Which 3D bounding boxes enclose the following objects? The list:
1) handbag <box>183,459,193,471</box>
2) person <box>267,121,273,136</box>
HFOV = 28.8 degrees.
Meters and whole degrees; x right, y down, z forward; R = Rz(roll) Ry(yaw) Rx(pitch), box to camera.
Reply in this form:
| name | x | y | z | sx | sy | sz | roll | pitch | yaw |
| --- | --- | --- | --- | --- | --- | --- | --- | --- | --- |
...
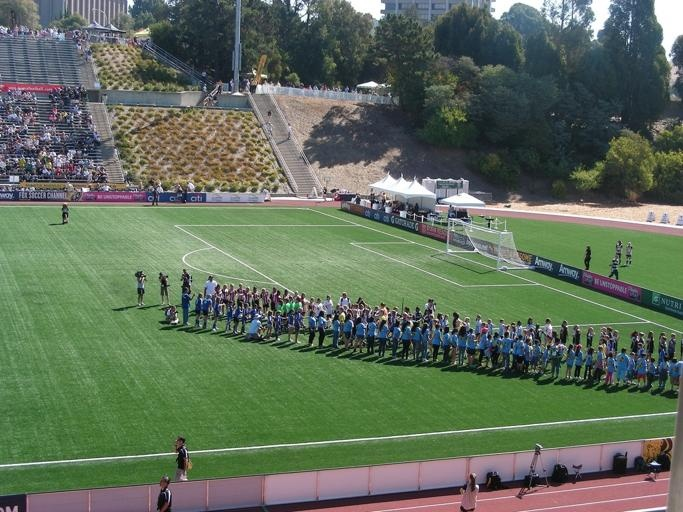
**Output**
| name | x | y | z | sx | sy | sz | roll | pitch | yaw |
| --- | --- | --- | --- | --- | --- | --- | --- | --- | --- |
| handbag | -9.627 | 13.429 | 85.300 | 0.633 | 0.900 | 0.727 | 0 | 5 | 8 |
| person | -8.411 | -15.344 | 159.883 | 0.694 | 1.346 | 2.499 | 3 | 13 | -4 |
